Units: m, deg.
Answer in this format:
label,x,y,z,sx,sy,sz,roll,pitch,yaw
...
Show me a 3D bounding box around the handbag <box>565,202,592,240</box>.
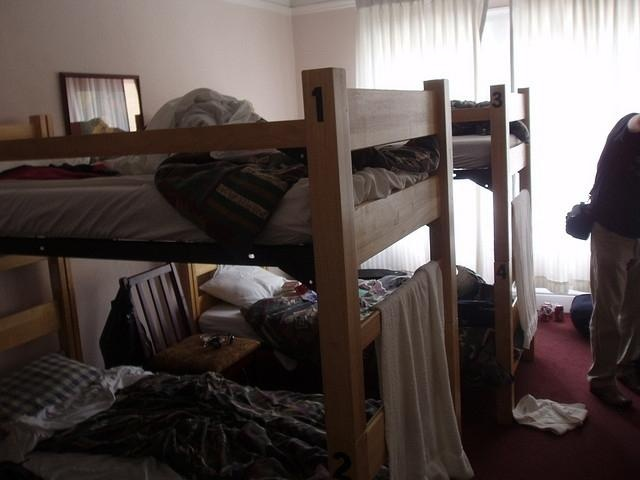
label,x,y,z,sx,sy,sz,roll,pitch,yaw
handbag,1.834,-0.134,3.554,0.128,0.266,0.190,11,45,15
